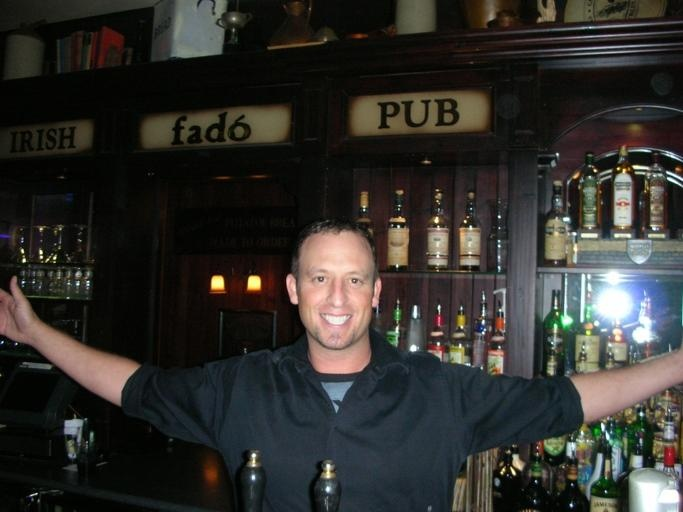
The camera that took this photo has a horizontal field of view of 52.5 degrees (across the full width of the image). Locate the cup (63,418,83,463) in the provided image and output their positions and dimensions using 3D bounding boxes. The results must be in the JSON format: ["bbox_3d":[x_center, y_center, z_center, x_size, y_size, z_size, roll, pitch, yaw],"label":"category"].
[{"bbox_3d":[-1.468,1.001,3.695,0.120,0.184,0.117,-3,-13,-1],"label":"cup"}]
